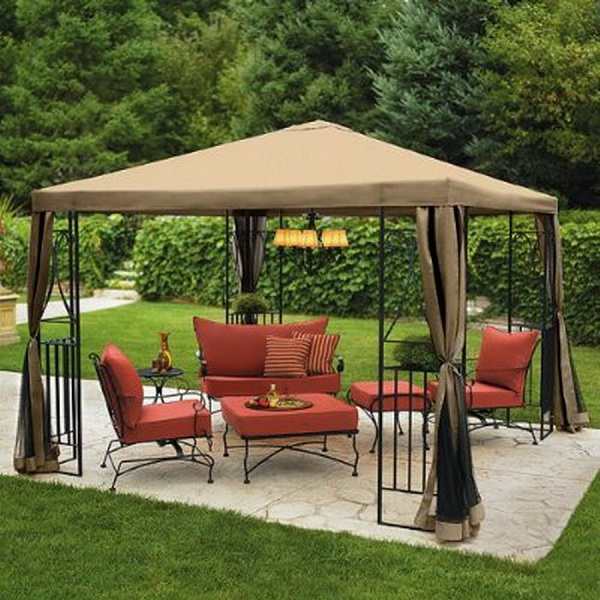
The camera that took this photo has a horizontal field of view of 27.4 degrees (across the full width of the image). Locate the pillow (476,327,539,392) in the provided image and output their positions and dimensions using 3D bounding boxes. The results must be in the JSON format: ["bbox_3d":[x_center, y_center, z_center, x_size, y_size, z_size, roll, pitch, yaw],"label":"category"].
[{"bbox_3d":[2.472,0.656,15.042,0.513,0.904,0.594,-1,7,-27],"label":"pillow"}]

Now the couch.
[{"bbox_3d":[-0.443,0.870,15.522,1.702,1.383,0.978,-1,1,-12],"label":"couch"}]

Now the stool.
[{"bbox_3d":[1.115,1.301,14.368,0.782,0.748,0.880,-1,5,-14],"label":"stool"}]

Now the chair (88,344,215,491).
[{"bbox_3d":[-1.722,1.269,14.260,1.373,1.914,1.285,-1,2,-11],"label":"chair"}]

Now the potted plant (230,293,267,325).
[{"bbox_3d":[-0.694,0.097,17.022,0.372,0.485,0.408,2,-3,-31],"label":"potted plant"}]

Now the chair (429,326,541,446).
[{"bbox_3d":[2.179,1.029,15.079,1.161,1.543,1.375,3,0,40],"label":"chair"}]

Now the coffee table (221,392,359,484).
[{"bbox_3d":[-0.142,1.557,14.427,1.534,0.868,1.703,-1,6,-1],"label":"coffee table"}]

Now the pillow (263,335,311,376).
[{"bbox_3d":[-0.142,0.677,15.357,0.609,0.491,0.406,-2,3,-11],"label":"pillow"}]
